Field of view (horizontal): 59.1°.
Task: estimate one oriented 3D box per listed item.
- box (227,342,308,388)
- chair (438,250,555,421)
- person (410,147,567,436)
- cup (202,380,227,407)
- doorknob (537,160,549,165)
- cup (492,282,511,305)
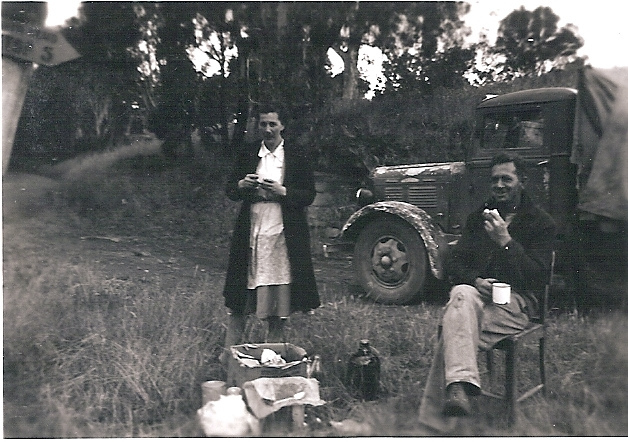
[{"bbox_3d":[-0.410,1.111,4.244,0.578,0.297,0.497,-12,-10,5],"label":"box"},{"bbox_3d":[1.342,0.901,4.143,0.796,1.092,0.779,-14,-13,5],"label":"chair"},{"bbox_3d":[1.285,0.515,4.139,0.931,1.705,0.706,3,2,-21],"label":"person"},{"bbox_3d":[-0.748,1.267,4.137,0.171,0.173,0.176,2,0,0],"label":"cup"},{"bbox_3d":[1.787,-0.461,4.312,0.126,0.019,0.020,-10,-1,6],"label":"doorknob"},{"bbox_3d":[1.322,0.513,3.966,0.130,0.123,0.150,0,-8,2],"label":"cup"}]
